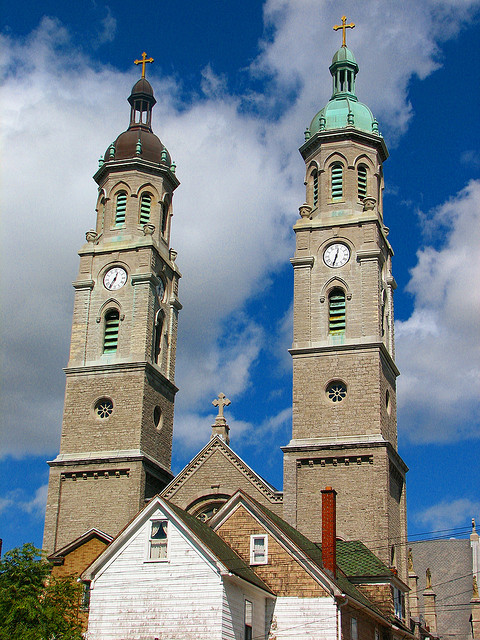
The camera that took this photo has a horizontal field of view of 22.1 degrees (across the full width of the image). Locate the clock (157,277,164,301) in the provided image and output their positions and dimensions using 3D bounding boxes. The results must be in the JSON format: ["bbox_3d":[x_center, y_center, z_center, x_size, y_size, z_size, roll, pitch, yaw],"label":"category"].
[{"bbox_3d":[-4.132,-1.619,62.951,0.126,1.219,0.986,-5,-14,19],"label":"clock"}]

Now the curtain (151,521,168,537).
[{"bbox_3d":[-2.543,6.522,38.691,0.495,0.493,0.055,2,-26,16],"label":"curtain"}]

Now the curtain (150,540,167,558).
[{"bbox_3d":[-2.558,7.128,38.525,0.531,0.589,0.020,0,-8,4],"label":"curtain"}]

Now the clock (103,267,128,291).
[{"bbox_3d":[-6.247,-2.051,61.616,1.219,1.281,0.098,-1,-28,10],"label":"clock"}]

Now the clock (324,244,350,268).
[{"bbox_3d":[4.647,-3.057,58.943,1.103,1.163,0.087,-3,-20,12],"label":"clock"}]
